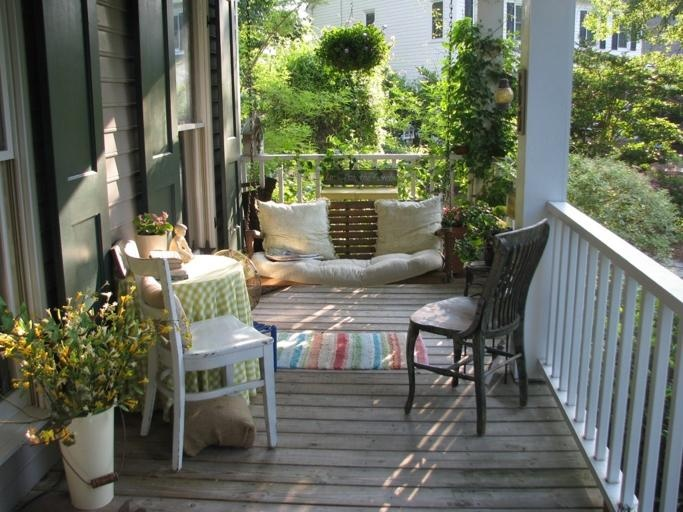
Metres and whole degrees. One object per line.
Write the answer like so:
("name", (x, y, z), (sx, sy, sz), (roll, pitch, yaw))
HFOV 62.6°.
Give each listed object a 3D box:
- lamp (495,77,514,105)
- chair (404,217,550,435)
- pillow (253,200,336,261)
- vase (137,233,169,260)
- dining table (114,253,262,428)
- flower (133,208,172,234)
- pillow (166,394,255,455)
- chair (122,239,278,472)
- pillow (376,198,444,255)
("lamp", (1.379, -1.390, 4.764), (0.135, 0.218, 0.333), (5, 16, 14))
("chair", (0.826, 0.389, 3.430), (0.737, 1.243, 0.814), (-7, 13, -23))
("pillow", (-0.531, -0.249, 5.918), (0.565, 0.547, 0.222), (-4, -19, -16))
("vase", (-1.248, -0.062, 3.689), (0.160, 0.125, 0.164), (3, 8, 26))
("dining table", (-0.775, 0.463, 3.488), (0.920, 0.859, 0.912), (1, 8, 2))
("flower", (-1.255, -0.215, 3.703), (0.200, 0.135, 0.207), (4, 9, 18))
("pillow", (-0.695, 0.915, 3.100), (0.310, 0.100, 0.293), (-3, 40, -12))
("chair", (-0.732, 0.526, 3.200), (0.749, 1.026, 0.731), (-2, 3, 3))
("pillow", (0.738, -0.292, 6.000), (0.575, 0.580, 0.220), (0, -8, 16))
